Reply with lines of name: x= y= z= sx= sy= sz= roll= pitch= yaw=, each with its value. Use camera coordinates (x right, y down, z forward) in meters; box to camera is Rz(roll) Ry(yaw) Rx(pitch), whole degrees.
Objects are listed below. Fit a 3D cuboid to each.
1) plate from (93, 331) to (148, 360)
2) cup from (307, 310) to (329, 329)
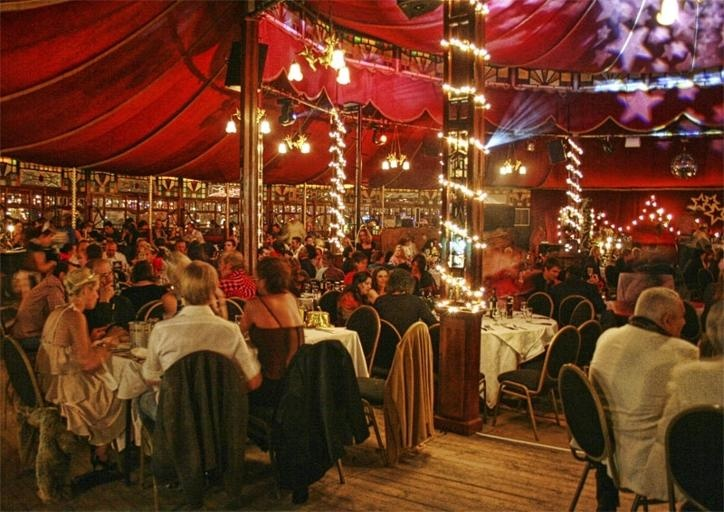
plate: x=-2.591 y=0.917 z=7.381 sx=0.546 sy=0.136 sz=0.329 roll=25 pitch=11 yaw=-20
cup: x=-0.535 y=0.786 z=8.422 sx=0.180 sy=0.166 sz=0.244 roll=0 pitch=-3 yaw=7
